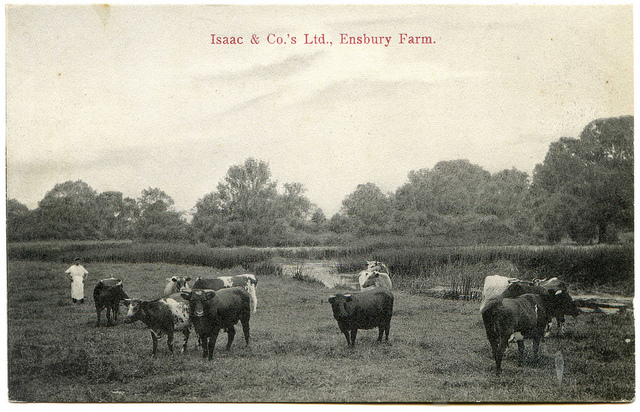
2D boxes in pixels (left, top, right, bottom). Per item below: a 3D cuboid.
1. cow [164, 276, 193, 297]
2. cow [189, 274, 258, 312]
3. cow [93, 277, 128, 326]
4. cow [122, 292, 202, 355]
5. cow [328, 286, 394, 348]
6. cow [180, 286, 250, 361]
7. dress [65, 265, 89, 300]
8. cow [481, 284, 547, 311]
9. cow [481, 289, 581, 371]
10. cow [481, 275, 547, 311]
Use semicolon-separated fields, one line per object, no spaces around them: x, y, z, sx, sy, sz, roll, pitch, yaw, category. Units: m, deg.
-3.605;1.996;19.193;0.376;0.521;0.988;2;-19;-28;cow
-2.460;2.270;19.396;1.850;0.952;0.621;0;-5;-26;cow
-5.477;2.469;19.804;0.622;1.104;1.815;-5;-3;3;cow
-3.834;2.939;18.625;1.026;1.468;2.632;-8;-7;28;cow
1.008;2.748;18.915;1.927;1.282;0.853;2;-4;-35;cow
-2.532;2.848;18.709;0.855;1.650;2.709;-1;-3;25;cow
-6.204;1.912;19.291;0.501;0.854;0.291;1;-2;-14;dress
4.686;2.189;18.396;1.375;0.702;0.671;7;-1;-10;cow
5.136;3.012;18.597;3.078;2.111;1.008;4;-2;-29;cow
4.818;2.108;18.847;1.774;1.071;0.751;-1;-3;5;cow
